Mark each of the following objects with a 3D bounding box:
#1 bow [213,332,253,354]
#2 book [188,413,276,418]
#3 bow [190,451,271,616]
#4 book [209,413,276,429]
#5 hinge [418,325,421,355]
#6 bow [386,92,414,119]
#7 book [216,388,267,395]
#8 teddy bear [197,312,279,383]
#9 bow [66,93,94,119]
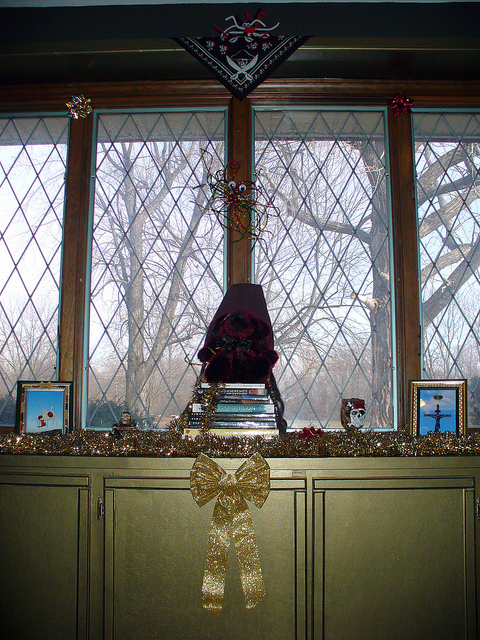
[{"bbox_3d":[-0.026,0.085,2.722,0.081,0.031,0.099,2,-37,7],"label":"bow"},{"bbox_3d":[-0.030,0.340,2.612,0.308,0.016,0.036,1,-7,-5],"label":"book"},{"bbox_3d":[-0.028,0.716,2.447,0.252,0.601,0.061,-1,14,3],"label":"bow"},{"bbox_3d":[0.009,0.358,2.600,0.232,0.055,0.030,0,-6,4],"label":"book"},{"bbox_3d":[0.752,0.096,3.066,0.015,0.095,0.005,4,-7,-34],"label":"hinge"},{"bbox_3d":[0.698,-0.938,3.182,0.108,0.107,0.034,1,-6,-4],"label":"bow"},{"bbox_3d":[0.007,0.258,2.629,0.177,0.018,0.028,1,-7,-7],"label":"book"},{"bbox_3d":[-0.008,0.103,2.721,0.297,0.259,0.131,1,-6,-6],"label":"teddy bear"},{"bbox_3d":[-0.706,-0.944,3.223,0.110,0.105,0.028,0,-6,4],"label":"bow"}]
